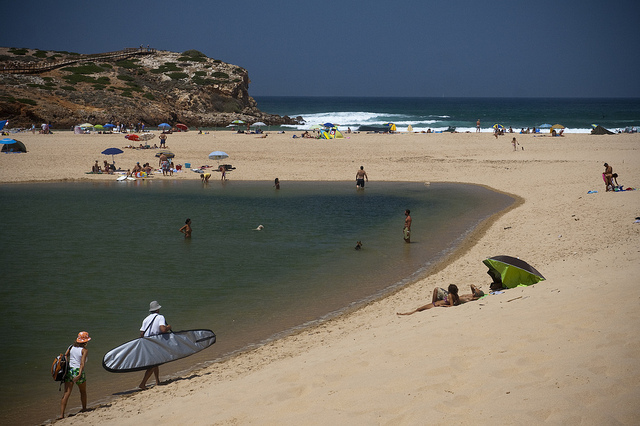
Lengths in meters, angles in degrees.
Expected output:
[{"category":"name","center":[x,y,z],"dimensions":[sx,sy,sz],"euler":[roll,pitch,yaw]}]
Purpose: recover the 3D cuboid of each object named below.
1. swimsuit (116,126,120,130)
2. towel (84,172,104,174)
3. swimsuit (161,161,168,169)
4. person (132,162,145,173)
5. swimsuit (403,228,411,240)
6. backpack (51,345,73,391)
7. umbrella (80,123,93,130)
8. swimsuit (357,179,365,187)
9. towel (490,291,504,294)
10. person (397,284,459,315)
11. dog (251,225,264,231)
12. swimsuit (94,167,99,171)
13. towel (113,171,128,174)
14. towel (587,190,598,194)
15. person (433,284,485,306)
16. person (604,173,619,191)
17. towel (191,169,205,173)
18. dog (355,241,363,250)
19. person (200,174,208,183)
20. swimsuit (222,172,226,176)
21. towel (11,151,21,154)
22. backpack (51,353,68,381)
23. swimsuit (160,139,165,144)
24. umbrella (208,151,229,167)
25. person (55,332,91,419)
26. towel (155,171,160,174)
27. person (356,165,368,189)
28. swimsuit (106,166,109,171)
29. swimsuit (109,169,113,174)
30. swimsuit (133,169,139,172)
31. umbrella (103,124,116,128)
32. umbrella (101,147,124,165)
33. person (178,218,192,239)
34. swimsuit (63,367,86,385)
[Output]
[{"category":"swimsuit","center":[-21.819,-9.080,74.353],"dimensions":[0.203,0.454,1.225],"euler":[-4,2,-23]},{"category":"towel","center":[-15.311,-2.698,46.990],"dimensions":[1.681,0.182,0.252],"euler":[0,11,4]},{"category":"swimsuit","center":[-10.704,-3.254,47.367],"dimensions":[0.462,0.523,0.203],"euler":[-1,3,40]},{"category":"person","center":[-12.510,-3.058,47.258],"dimensions":[0.760,0.664,1.001],"euler":[-3,2,-8]},{"category":"swimsuit","center":[3.785,0.894,30.514],"dimensions":[0.184,0.479,0.435],"euler":[-2,2,4]},{"category":"backpack","center":[-7.780,4.609,20.679],"dimensions":[0.316,0.542,0.778],"euler":[20,-49,-40]},{"category":"umbrella","center":[-23.379,-8.727,69.389],"dimensions":[1.103,0.412,1.020],"euler":[0,4,6]},{"category":"swimsuit","center":[2.454,-1.867,42.056],"dimensions":[0.671,0.580,0.354],"euler":[3,12,6]},{"category":"towel","center":[5.851,2.614,22.923],"dimensions":[0.222,0.052,0.472],"euler":[-3,2,-27]},{"category":"person","center":[3.610,2.861,23.031],"dimensions":[1.874,0.833,0.878],"euler":[-12,2,19]},{"category":"dog","center":[-2.992,0.710,33.025],"dimensions":[0.535,0.235,0.708],"euler":[-2,2,10]},{"category":"swimsuit","center":[-15.246,-2.965,47.107],"dimensions":[0.201,0.198,0.155],"euler":[-4,13,-36]},{"category":"towel","center":[-13.873,-2.765,47.707],"dimensions":[0.663,0.206,1.187],"euler":[-2,2,16]},{"category":"towel","center":[14.007,-1.065,35.671],"dimensions":[0.459,0.092,0.769],"euler":[-1,2,25]},{"category":"person","center":[4.541,2.745,23.012],"dimensions":[1.230,0.431,0.761],"euler":[-4,-1,12]},{"category":"person","center":[15.036,-1.602,35.826],"dimensions":[0.611,0.901,1.085],"euler":[-1,2,23]},{"category":"towel","center":[-8.612,-2.883,48.194],"dimensions":[0.490,0.243,1.488],"euler":[-4,2,-37]},{"category":"dog","center":[1.642,1.390,30.174],"dimensions":[0.302,0.347,0.698],"euler":[-2,2,3]},{"category":"person","center":[-7.581,-2.217,44.901],"dimensions":[0.301,0.540,0.944],"euler":[-4,3,-31]},{"category":"swimsuit","center":[-6.410,-2.539,45.561],"dimensions":[0.135,0.281,0.266],"euler":[-3,2,-9]},{"category":"towel","center":[-22.981,-4.516,52.137],"dimensions":[0.540,0.236,0.763],"euler":[-2,2,-7]},{"category":"backpack","center":[-7.820,4.622,20.763],"dimensions":[0.450,0.784,0.279],"euler":[-3,3,-19]},{"category":"swimsuit","center":[-13.207,-5.939,57.813],"dimensions":[0.446,0.536,0.330],"euler":[0,5,-2]},{"category":"umbrella","center":[-7.129,-3.737,48.098],"dimensions":[1.143,1.080,1.092],"euler":[-2,24,-11]},{"category":"person","center":[-7.580,4.833,21.159],"dimensions":[1.008,2.472,0.988],"euler":[-4,3,-20]},{"category":"towel","center":[-11.357,-2.807,48.059],"dimensions":[0.291,0.153,0.575],"euler":[-3,2,-28]},{"category":"person","center":[2.471,-2.161,42.343],"dimensions":[0.485,1.378,1.530],"euler":[-2,2,4]},{"category":"swimsuit","center":[-14.584,-2.985,47.185],"dimensions":[0.255,0.317,0.092],"euler":[8,0,19]},{"category":"swimsuit","center":[-14.321,-2.782,47.107],"dimensions":[0.266,0.325,0.110],"euler":[5,-9,-4]},{"category":"swimsuit","center":[-12.522,-2.867,46.929],"dimensions":[0.340,0.138,0.123],"euler":[-2,2,19]},{"category":"umbrella","center":[-21.369,-8.739,69.514],"dimensions":[0.999,0.374,1.967],"euler":[-3,2,-18]},{"category":"umbrella","center":[-14.405,-4.188,47.955],"dimensions":[1.088,0.849,1.031],"euler":[0,-4,-1]},{"category":"person","center":[-6.209,0.725,31.770],"dimensions":[0.508,0.883,1.319],"euler":[-3,2,-12]},{"category":"swimsuit","center":[-7.429,4.860,20.795],"dimensions":[0.599,0.485,0.300],"euler":[3,8,-8]}]
